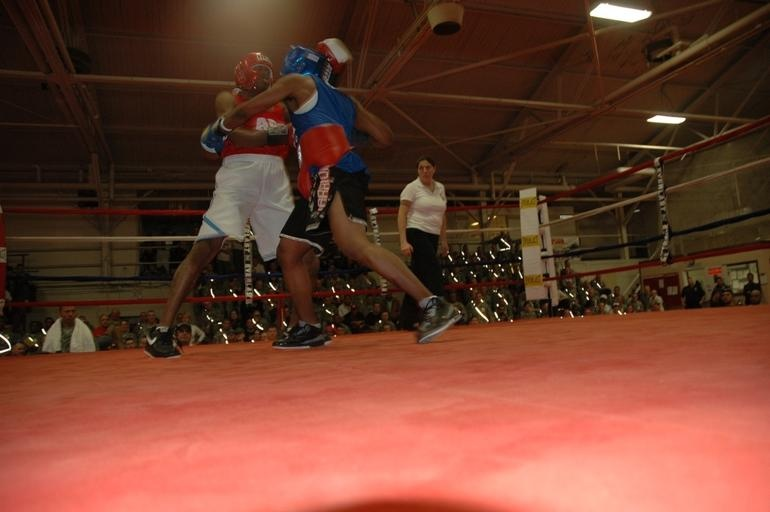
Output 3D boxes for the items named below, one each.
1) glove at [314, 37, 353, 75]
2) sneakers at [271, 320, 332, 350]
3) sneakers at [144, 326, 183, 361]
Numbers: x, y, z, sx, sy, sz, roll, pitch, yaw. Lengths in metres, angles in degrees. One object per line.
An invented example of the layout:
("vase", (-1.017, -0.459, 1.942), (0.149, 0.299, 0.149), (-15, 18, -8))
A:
("glove", (-0.269, -1.000, 2.667), (0.137, 0.075, 0.191), (41, -5, -34))
("sneakers", (-0.394, 0.390, 2.585), (0.318, 0.145, 0.104), (0, -10, -13))
("sneakers", (-0.968, 0.371, 2.336), (0.083, 0.148, 0.227), (2, 1, -25))
